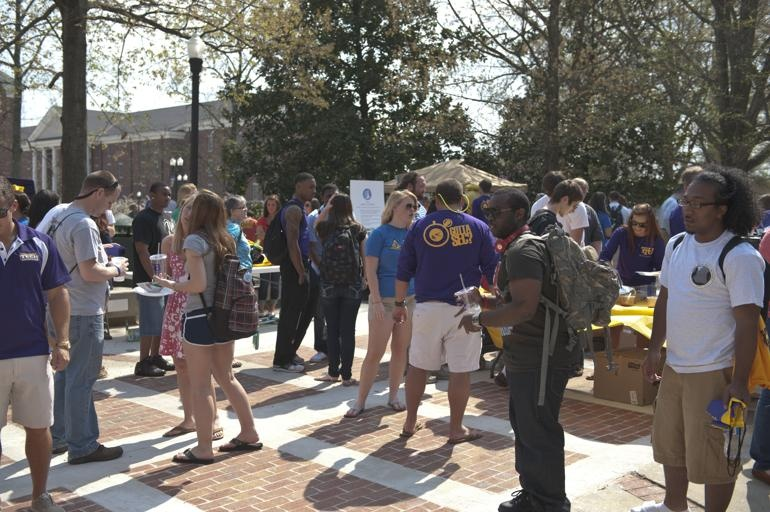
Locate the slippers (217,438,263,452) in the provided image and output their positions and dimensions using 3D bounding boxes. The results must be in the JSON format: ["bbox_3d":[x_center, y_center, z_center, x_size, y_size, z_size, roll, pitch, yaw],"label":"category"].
[{"bbox_3d":[-1.564,2.054,8.686,0.426,0.124,0.159,3,-7,-12],"label":"slippers"}]

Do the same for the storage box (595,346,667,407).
[{"bbox_3d":[2.919,1.506,9.816,0.906,0.664,0.920,4,6,30],"label":"storage box"}]

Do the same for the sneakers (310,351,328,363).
[{"bbox_3d":[-0.979,1.532,11.967,0.106,0.106,0.251,-1,-7,26],"label":"sneakers"}]

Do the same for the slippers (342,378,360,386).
[{"bbox_3d":[-0.444,1.699,10.693,0.087,0.082,0.211,3,16,33],"label":"slippers"}]

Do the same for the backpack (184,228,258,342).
[{"bbox_3d":[-1.707,0.361,8.231,0.751,1.149,0.367,-4,14,-12],"label":"backpack"}]

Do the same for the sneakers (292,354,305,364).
[{"bbox_3d":[-1.260,1.520,11.636,0.154,0.174,0.422,0,-6,-14],"label":"sneakers"}]

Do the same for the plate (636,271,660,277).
[{"bbox_3d":[3.397,0.236,10.266,0.275,0.046,0.248,0,3,-28],"label":"plate"}]

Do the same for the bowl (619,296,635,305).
[{"bbox_3d":[3.096,0.587,10.290,0.155,0.093,0.175,3,-1,-33],"label":"bowl"}]

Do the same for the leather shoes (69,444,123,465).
[{"bbox_3d":[-2.981,2.092,8.413,0.573,0.221,0.190,-4,4,-28],"label":"leather shoes"}]

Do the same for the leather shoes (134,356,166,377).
[{"bbox_3d":[-3.121,1.539,11.008,0.573,0.275,0.197,-1,2,2],"label":"leather shoes"}]

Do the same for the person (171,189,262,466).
[{"bbox_3d":[-1.980,0.761,8.572,1.079,2.777,0.894,-9,-6,37],"label":"person"}]

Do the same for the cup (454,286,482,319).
[{"bbox_3d":[0.779,0.430,7.372,0.250,0.278,0.250,-8,4,1],"label":"cup"}]

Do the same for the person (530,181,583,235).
[{"bbox_3d":[2.134,-0.559,10.147,0.465,0.843,0.808,26,7,8],"label":"person"}]

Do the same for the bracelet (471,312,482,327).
[{"bbox_3d":[0.819,0.570,7.199,0.083,0.128,0.118,4,33,24],"label":"bracelet"}]

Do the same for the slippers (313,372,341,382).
[{"bbox_3d":[-0.779,1.682,10.941,0.370,0.152,0.129,4,0,20],"label":"slippers"}]

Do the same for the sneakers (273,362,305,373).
[{"bbox_3d":[-1.354,1.583,11.305,0.396,0.163,0.166,1,-1,-5],"label":"sneakers"}]

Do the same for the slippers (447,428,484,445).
[{"bbox_3d":[0.892,2.011,8.911,0.388,0.133,0.139,-5,4,-27],"label":"slippers"}]

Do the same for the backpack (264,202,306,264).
[{"bbox_3d":[-1.413,-0.334,11.163,0.616,0.948,0.451,2,14,10],"label":"backpack"}]

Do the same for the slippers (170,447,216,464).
[{"bbox_3d":[-2.004,2.125,8.348,0.346,0.110,0.180,7,-8,4],"label":"slippers"}]

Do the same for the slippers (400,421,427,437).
[{"bbox_3d":[0.326,1.958,9.104,0.119,0.090,0.329,1,9,29],"label":"slippers"}]

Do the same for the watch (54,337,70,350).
[{"bbox_3d":[-3.050,0.847,7.610,0.107,0.107,0.104,2,-13,-34],"label":"watch"}]

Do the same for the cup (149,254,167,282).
[{"bbox_3d":[-2.373,0.094,8.466,0.143,0.231,0.323,-4,14,-12],"label":"cup"}]
